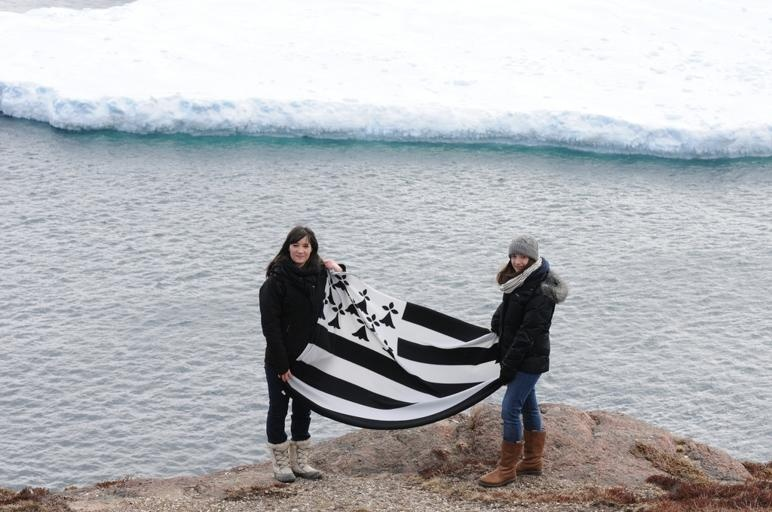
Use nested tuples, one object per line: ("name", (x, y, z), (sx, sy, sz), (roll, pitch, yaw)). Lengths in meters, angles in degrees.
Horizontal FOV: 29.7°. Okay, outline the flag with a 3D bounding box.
("flag", (0.267, 4.725, 67.889), (12.367, 2.715, 4.761), (11, 88, 5))
